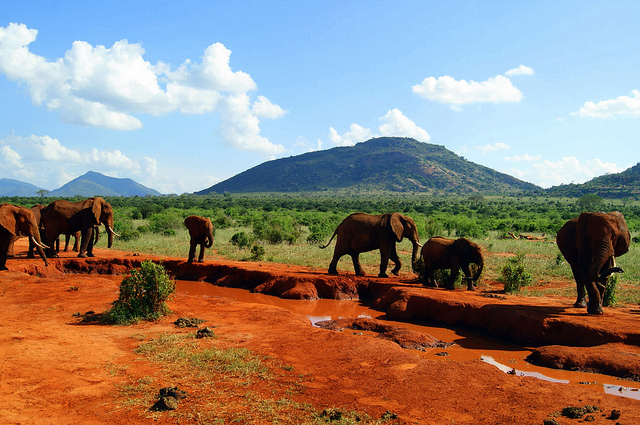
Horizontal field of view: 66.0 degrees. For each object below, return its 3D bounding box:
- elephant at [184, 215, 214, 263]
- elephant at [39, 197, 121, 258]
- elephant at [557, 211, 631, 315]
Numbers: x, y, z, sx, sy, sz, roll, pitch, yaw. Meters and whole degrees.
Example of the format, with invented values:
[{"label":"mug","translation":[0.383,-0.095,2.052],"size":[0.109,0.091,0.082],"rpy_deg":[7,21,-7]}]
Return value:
[{"label":"elephant","translation":[-5.530,1.231,22.521],"size":[1.282,2.094,2.234],"rpy_deg":[7,-13,-38]},{"label":"elephant","translation":[-11.190,0.702,22.843],"size":[3.190,2.773,1.879],"rpy_deg":[0,-1,-24]},{"label":"elephant","translation":[9.118,1.582,15.921],"size":[1.345,3.286,2.254],"rpy_deg":[2,-3,-4]}]
